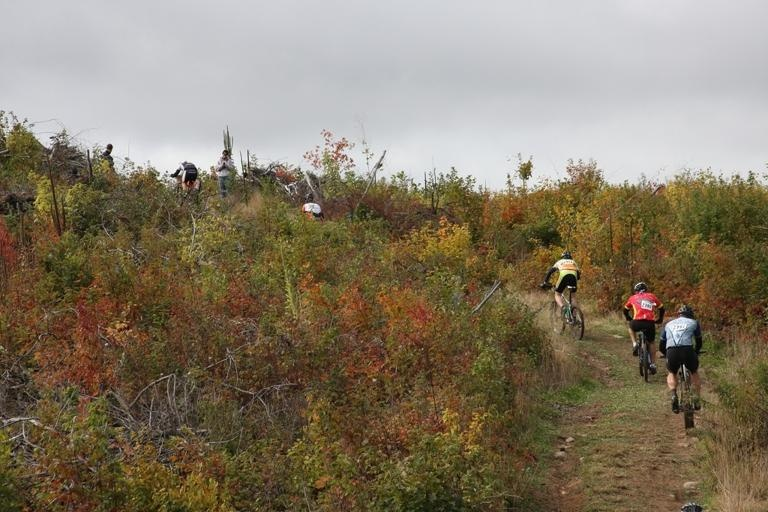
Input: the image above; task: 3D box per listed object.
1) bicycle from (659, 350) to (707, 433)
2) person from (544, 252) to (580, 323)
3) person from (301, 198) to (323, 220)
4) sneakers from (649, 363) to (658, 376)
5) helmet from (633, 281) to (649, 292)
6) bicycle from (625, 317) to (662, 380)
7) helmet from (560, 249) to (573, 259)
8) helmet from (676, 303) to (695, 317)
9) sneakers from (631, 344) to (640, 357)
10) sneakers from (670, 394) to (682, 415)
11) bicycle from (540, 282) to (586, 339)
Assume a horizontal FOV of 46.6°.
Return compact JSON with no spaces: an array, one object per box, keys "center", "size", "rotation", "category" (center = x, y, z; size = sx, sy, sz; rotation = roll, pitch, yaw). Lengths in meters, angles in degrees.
[{"center":[7.218,3.351,21.574],"size":[1.184,1.738,2.612],"rotation":[-7,-7,10],"category":"bicycle"},{"center":[5.533,0.802,27.967],"size":[1.041,2.267,1.531],"rotation":[0,-12,10],"category":"person"},{"center":[-2.482,-1.456,30.719],"size":[0.673,0.682,1.236],"rotation":[1,19,-11],"category":"person"},{"center":[7.153,3.024,23.617],"size":[0.077,0.309,0.199],"rotation":[4,-11,-1],"category":"sneakers"},{"center":[7.536,0.892,26.095],"size":[0.254,0.357,0.351],"rotation":[19,18,27],"category":"helmet"},{"center":[6.958,2.438,23.835],"size":[0.677,1.003,1.505],"rotation":[-2,5,10],"category":"bicycle"},{"center":[6.194,-0.058,30.214],"size":[0.247,0.308,0.216],"rotation":[-1,-12,44],"category":"helmet"},{"center":[8.082,1.462,23.858],"size":[0.372,0.470,0.468],"rotation":[-1,-24,32],"category":"helmet"},{"center":[6.905,2.650,24.501],"size":[0.122,0.175,0.420],"rotation":[6,-48,16],"category":"sneakers"},{"center":[6.944,3.552,21.223],"size":[0.175,0.619,0.248],"rotation":[4,-12,8],"category":"sneakers"},{"center":[5.626,1.715,27.567],"size":[0.752,1.736,1.810],"rotation":[2,-6,-9],"category":"bicycle"}]
